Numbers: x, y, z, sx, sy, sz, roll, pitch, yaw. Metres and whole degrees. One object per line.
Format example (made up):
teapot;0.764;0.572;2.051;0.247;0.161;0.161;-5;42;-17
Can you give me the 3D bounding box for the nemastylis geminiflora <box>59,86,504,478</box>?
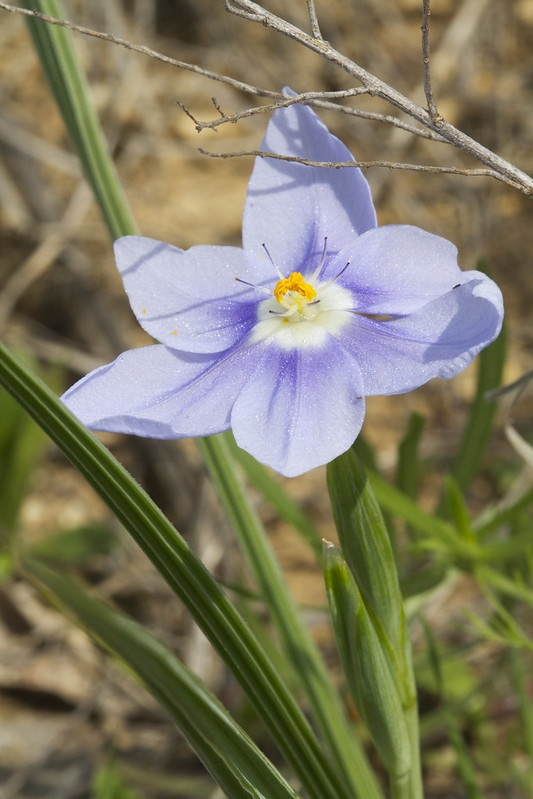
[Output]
nemastylis geminiflora;0.020;-0.069;0.753;0.373;0.135;0.400;-28;58;-7
